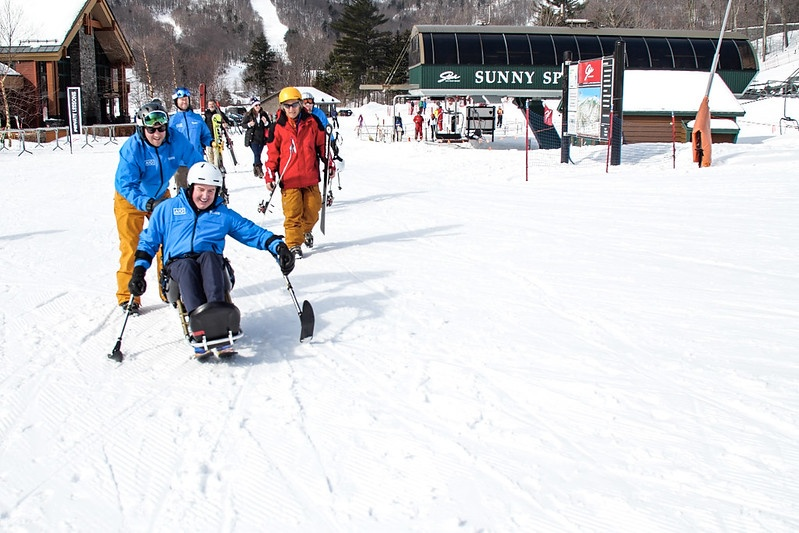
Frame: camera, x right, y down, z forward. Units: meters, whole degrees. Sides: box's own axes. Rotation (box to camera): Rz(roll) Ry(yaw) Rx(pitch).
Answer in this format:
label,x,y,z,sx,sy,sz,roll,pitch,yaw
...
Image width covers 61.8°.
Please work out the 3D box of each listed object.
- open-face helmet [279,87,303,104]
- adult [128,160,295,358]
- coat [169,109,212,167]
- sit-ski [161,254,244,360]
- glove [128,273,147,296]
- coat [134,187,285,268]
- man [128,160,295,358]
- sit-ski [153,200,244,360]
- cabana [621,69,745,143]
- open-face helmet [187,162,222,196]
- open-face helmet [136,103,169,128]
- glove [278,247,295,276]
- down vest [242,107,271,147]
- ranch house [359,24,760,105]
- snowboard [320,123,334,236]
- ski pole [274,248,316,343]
label,x,y,z,sx,sy,sz,roll,pitch,yaw
open-face helmet,-1.654,-2.592,10.068,0.313,0.241,0.392,4,17,15
adult,-1.955,-0.132,6.958,1.653,2.145,1.145,-6,-11,20
coat,-4.127,-2.515,13.163,0.866,1.224,0.586,-13,21,-28
sit-ski,-2.063,0.318,7.031,0.769,0.571,1.431,-7,33,-25
glove,-2.747,0.208,6.976,0.176,0.255,0.087,10,-15,-37
coat,-2.126,-0.299,7.115,1.636,1.187,0.856,3,-11,-27
man,-1.941,-0.104,7.020,1.609,2.128,1.145,-5,-12,13
sit-ski,-2.080,-0.006,7.149,0.946,0.947,2.227,-6,38,-22
cabana,10.481,-6.101,25.272,3.886,2.658,2.701,5,17,19
open-face helmet,-2.070,-0.935,7.096,0.241,0.341,0.311,6,16,-15
open-face helmet,-2.942,-1.819,7.929,0.347,0.283,0.327,-7,17,-22
glove,-1.210,-0.043,7.150,0.176,0.281,0.114,45,40,20
down vest,-3.817,-3.778,17.998,0.794,1.168,0.626,1,10,-22
ranch house,11.379,-14.849,46.592,23.590,5.002,12.017,-2,18,-6
snowboard,-1.212,-1.640,11.342,0.248,2.468,0.183,5,-30,-9
ski pole,-1.110,0.404,7.290,0.246,0.991,0.048,-22,36,-10
